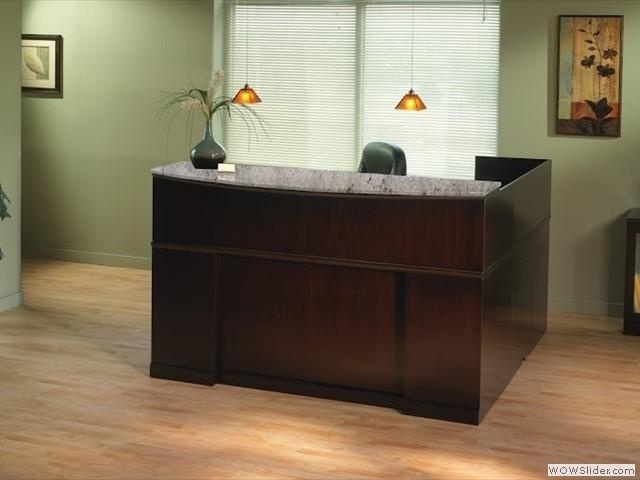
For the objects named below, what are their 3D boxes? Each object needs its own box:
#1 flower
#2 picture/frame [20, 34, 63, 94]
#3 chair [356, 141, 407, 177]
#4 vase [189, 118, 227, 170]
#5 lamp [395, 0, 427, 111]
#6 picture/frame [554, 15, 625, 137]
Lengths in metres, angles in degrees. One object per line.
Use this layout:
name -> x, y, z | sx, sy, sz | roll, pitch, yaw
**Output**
flower -> -0.773, -0.846, 3.989 | 0.707, 0.635, 0.553 | 7, 13, 11
picture/frame -> -3.308, -2.056, 6.579 | 0.525, 0.690, 0.152 | 6, 13, 19
chair -> 0.483, -0.676, 4.590 | 0.329, 0.333, 0.190 | 9, 40, 18
vase -> -0.807, -0.678, 3.955 | 0.255, 0.359, 0.258 | -4, 9, -35
lamp -> 0.920, -1.794, 5.421 | 0.293, 1.062, 0.954 | 4, 13, 10
picture/frame -> 2.432, -1.482, 5.034 | 0.584, 1.035, 0.115 | 5, 13, 15
